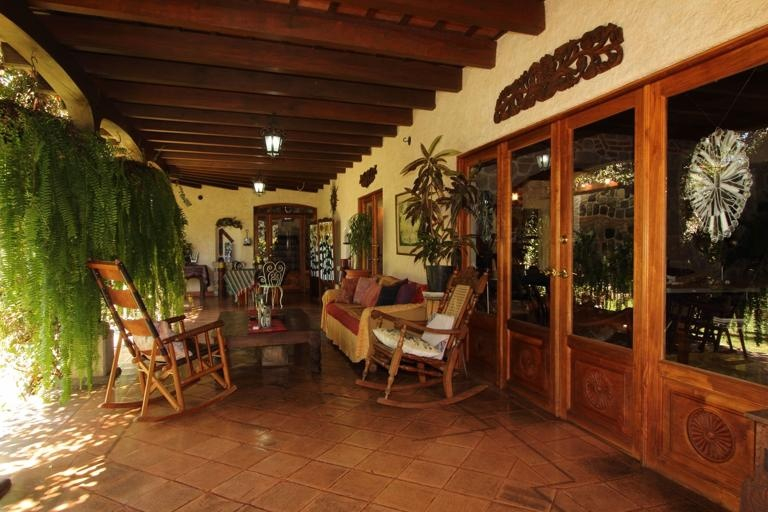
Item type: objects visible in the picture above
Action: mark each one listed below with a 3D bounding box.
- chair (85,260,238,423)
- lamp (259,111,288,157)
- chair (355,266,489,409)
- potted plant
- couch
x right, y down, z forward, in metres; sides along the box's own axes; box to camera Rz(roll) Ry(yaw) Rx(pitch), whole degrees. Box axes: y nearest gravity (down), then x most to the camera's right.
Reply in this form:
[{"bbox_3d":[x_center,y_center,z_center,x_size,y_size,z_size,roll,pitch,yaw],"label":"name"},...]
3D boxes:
[{"bbox_3d":[-2.094,0.775,4.695,0.960,1.399,1.200,-1,2,24],"label":"chair"},{"bbox_3d":[-1.608,-1.789,6.988,0.300,0.307,0.791,0,39,-14],"label":"lamp"},{"bbox_3d":[0.378,0.820,5.196,1.318,1.357,0.960,4,0,-8],"label":"chair"},{"bbox_3d":[0.687,-0.507,5.852,0.875,1.788,1.258,-4,13,-15],"label":"potted plant"},{"bbox_3d":[-0.246,0.812,6.864,1.024,0.876,1.965,-5,6,-24],"label":"couch"}]
